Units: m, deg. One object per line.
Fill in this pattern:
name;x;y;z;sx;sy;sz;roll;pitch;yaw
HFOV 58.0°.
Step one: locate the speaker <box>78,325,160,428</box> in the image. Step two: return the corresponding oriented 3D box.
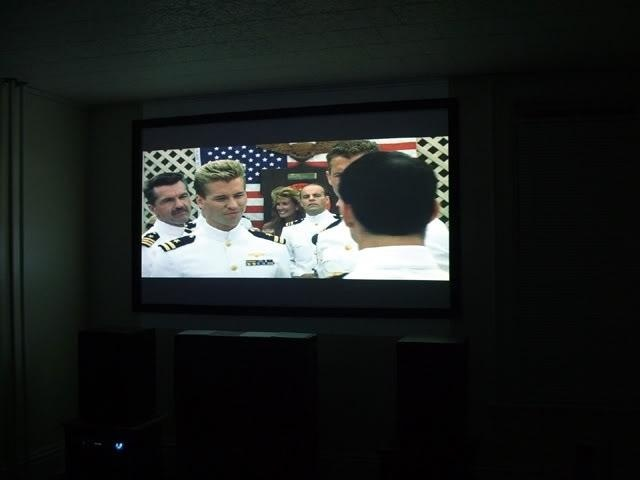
speaker;-1.471;0.929;4.208;0.654;0.695;0.613;2;7;-4
